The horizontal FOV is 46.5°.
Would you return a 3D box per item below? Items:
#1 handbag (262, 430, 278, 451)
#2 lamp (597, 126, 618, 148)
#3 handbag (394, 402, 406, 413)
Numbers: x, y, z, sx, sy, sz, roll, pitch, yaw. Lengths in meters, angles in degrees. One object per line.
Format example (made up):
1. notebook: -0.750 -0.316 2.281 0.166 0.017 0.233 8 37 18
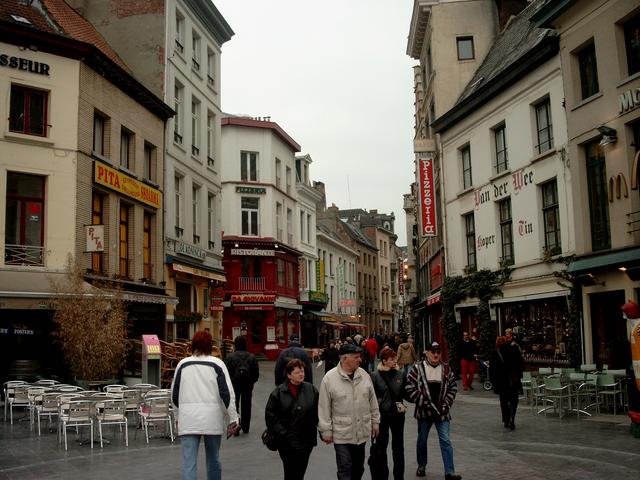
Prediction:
1. handbag: -0.833 3.278 12.247 0.244 0.306 0.233 -1 -13 -6
2. lamp: 8.686 -3.173 22.952 0.592 0.779 0.497 -5 -3 -13
3. handbag: 1.463 3.120 13.858 0.180 0.182 0.168 11 -23 -38
